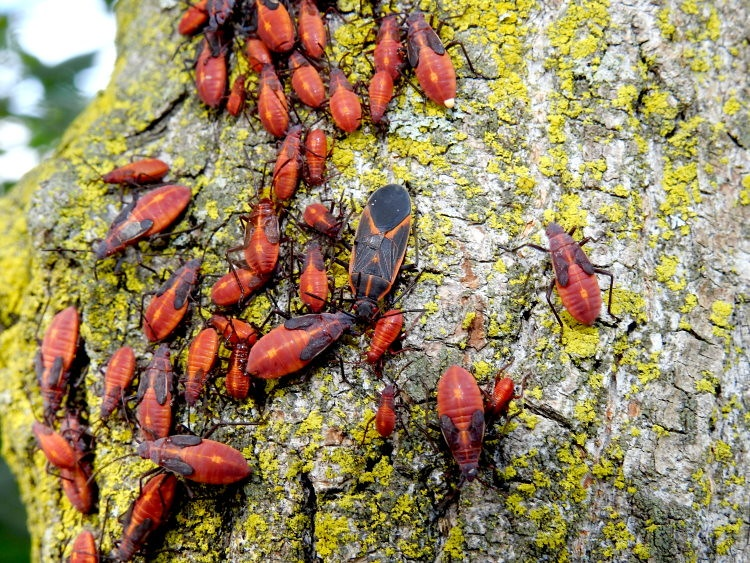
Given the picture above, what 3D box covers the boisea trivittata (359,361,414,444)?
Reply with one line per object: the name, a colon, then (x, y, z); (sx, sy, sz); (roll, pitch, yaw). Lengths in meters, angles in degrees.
boisea trivittata: (0.055, 0.909, 7.150); (0.295, 0.122, 0.486); (-7, 63, 26)
